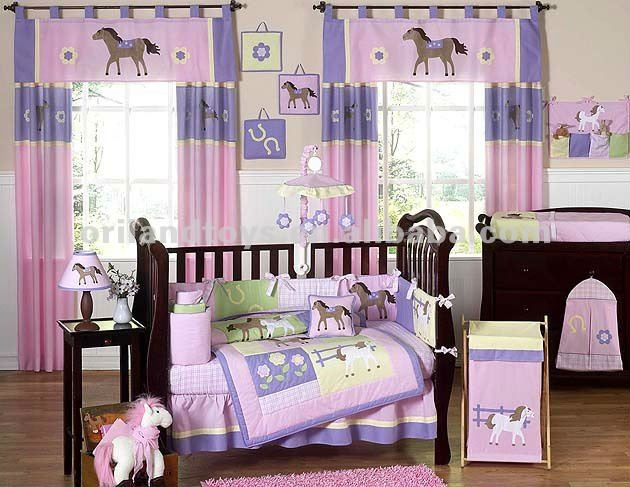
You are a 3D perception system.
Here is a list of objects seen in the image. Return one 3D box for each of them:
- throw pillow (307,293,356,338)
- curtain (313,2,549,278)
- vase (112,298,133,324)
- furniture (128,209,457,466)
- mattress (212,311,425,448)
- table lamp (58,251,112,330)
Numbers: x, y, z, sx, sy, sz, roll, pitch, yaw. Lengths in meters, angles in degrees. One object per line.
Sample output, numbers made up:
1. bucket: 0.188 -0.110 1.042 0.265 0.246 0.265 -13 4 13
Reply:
1. throw pillow: 0.094 0.416 3.444 0.184 0.198 0.076 1 -38 0
2. curtain: 0.863 -0.817 4.476 1.743 2.057 0.141 -1 3 2
3. vase: -0.989 0.350 3.182 0.107 0.184 0.114 1 -7 -5
4. furniture: -0.119 0.367 3.534 1.586 1.281 1.237 0 1 -4
5. mattress: 0.020 0.679 3.059 0.692 0.215 0.576 -9 25 -13
6. table lamp: -1.185 0.247 3.146 0.238 0.403 0.251 7 6 41
